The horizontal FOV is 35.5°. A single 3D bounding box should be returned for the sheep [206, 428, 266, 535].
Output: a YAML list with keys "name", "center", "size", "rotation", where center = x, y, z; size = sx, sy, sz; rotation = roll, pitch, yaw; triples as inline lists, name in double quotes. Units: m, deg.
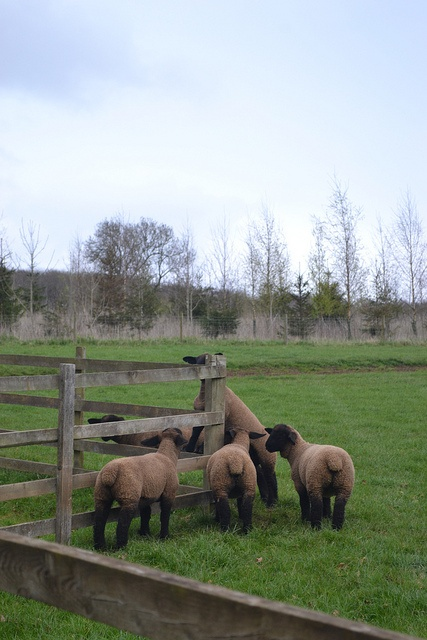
- name: "sheep"
  center: [0.214, 1.557, 6.545]
  size: [0.417, 0.869, 1.260]
  rotation: [-1, -4, 5]

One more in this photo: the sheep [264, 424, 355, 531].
- name: "sheep"
  center: [0.965, 1.555, 6.600]
  size: [0.528, 0.882, 1.234]
  rotation: [5, -8, -20]

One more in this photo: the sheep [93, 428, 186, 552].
- name: "sheep"
  center: [-0.597, 1.455, 5.781]
  size: [0.380, 0.928, 1.069]
  rotation: [-1, -5, 30]

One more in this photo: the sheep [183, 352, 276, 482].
- name: "sheep"
  center: [0.165, 1.149, 7.448]
  size: [0.429, 1.005, 1.633]
  rotation: [-3, -31, 47]
